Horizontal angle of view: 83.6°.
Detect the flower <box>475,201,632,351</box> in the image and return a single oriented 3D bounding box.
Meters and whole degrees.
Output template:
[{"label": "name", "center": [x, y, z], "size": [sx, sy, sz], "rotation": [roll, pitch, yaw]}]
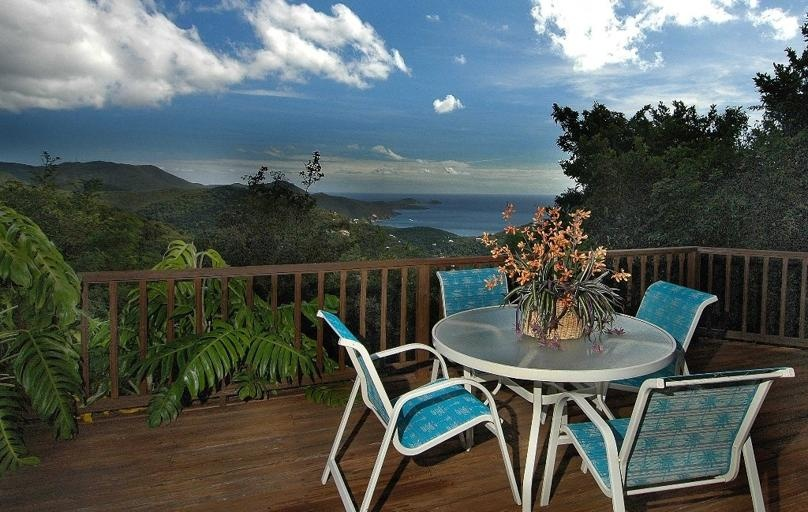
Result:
[{"label": "flower", "center": [1.182, 0.206, 3.520], "size": [0.897, 0.740, 0.999], "rotation": [3, 1, 18]}]
